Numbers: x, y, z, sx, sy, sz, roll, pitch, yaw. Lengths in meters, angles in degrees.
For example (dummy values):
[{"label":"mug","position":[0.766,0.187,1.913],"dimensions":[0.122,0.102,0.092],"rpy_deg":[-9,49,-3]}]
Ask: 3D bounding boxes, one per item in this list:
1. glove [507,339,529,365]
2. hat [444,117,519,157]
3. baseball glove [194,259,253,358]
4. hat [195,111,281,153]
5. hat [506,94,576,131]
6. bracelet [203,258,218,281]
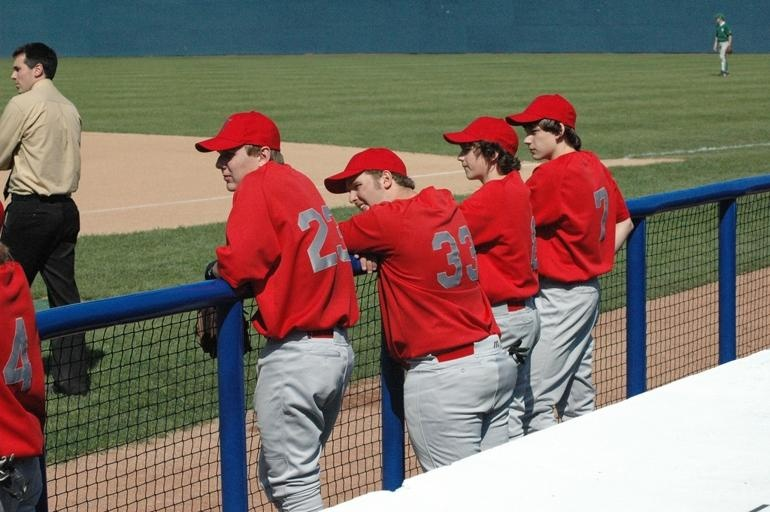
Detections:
[{"label":"glove","position":[1.309,0.932,13.103],"dimensions":[0.219,0.116,0.221],"rpy_deg":[48,13,32]},{"label":"hat","position":[0.978,-1.195,13.436],"dimensions":[0.803,0.399,0.515],"rpy_deg":[12,-7,1]},{"label":"baseball glove","position":[-1.528,0.533,12.737],"dimensions":[0.508,0.201,0.668],"rpy_deg":[-16,-15,-16]},{"label":"hat","position":[-1.412,-1.185,12.973],"dimensions":[0.859,0.418,0.547],"rpy_deg":[4,-3,-28]},{"label":"hat","position":[1.630,-1.457,13.681],"dimensions":[0.735,0.371,0.471],"rpy_deg":[6,-6,13]},{"label":"bracelet","position":[-1.643,0.113,12.686],"dimensions":[0.120,0.159,0.359],"rpy_deg":[-6,9,-7]}]
